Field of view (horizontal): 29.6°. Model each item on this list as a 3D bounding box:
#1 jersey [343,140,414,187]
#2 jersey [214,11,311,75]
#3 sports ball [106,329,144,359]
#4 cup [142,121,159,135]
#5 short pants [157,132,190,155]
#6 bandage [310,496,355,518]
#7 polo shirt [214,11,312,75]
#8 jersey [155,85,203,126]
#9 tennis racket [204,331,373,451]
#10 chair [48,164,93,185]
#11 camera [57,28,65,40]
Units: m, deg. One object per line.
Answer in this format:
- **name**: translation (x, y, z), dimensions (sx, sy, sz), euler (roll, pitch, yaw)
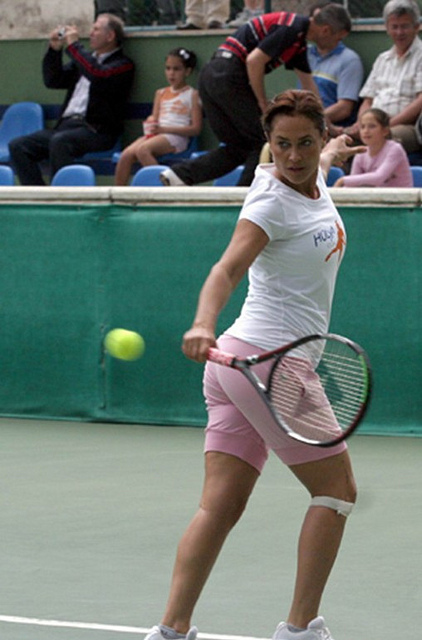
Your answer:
- **jersey**: translation (1.018, -0.948, 4.817), dimensions (0.393, 0.284, 0.352), euler (2, 9, 12)
- **jersey**: translation (0.335, -1.499, 4.412), dimensions (0.472, 0.179, 0.419), euler (-41, 53, -13)
- **sports ball**: translation (-0.421, 0.109, 3.984), dimensions (0.172, 0.140, 0.106), euler (20, 27, -2)
- **cup**: translation (-0.455, -1.468, 6.080), dimensions (0.117, 0.122, 0.275), euler (-1, 8, -4)
- **short pants**: translation (-0.261, -1.356, 6.110), dimensions (0.147, 0.071, 0.181), euler (12, 4, -12)
- **bandage**: translation (0.280, 0.418, 1.819), dimensions (0.066, 0.022, 0.060), euler (8, -10, 1)
- **polo shirt**: translation (0.334, -1.567, 4.515), dimensions (0.531, 0.224, 0.556), euler (5, 16, 45)
- **jersey**: translation (-0.283, -1.666, 6.253), dimensions (0.398, 0.338, 0.211), euler (15, 20, 20)
- **tennis racket**: translation (0.199, 0.146, 1.858), dimensions (0.352, 0.282, 0.465), euler (2, 9, 12)
- **chair**: translation (-0.884, -0.923, 5.161), dimensions (0.177, 0.188, 0.226), euler (5, 0, 14)
- **camera**: translation (-1.222, -2.326, 6.501), dimensions (0.023, 0.071, 0.056), euler (-8, 8, -39)
